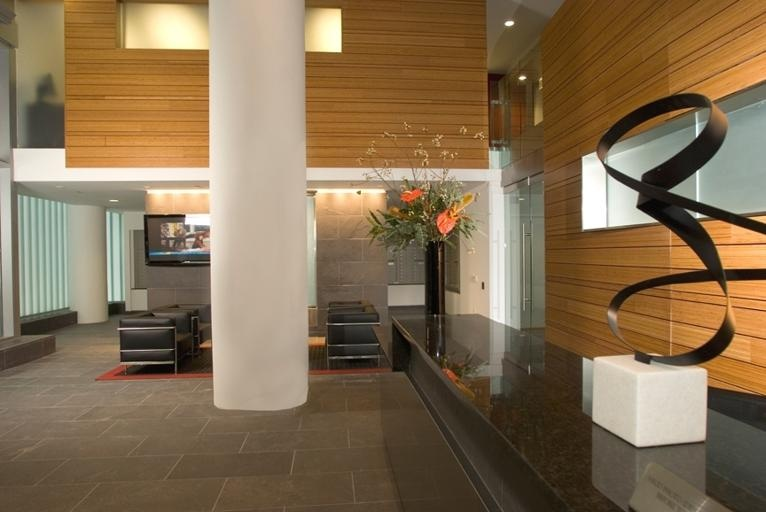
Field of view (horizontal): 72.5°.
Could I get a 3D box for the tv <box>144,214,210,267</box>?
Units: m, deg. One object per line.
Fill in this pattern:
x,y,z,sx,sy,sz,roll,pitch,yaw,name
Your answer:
-4.382,-0.387,11.008,1.344,0.793,0.126,0,-1,-6,tv

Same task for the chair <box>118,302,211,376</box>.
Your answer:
-3.885,1.423,9.094,0.932,1.037,1.474,-1,10,-3,chair

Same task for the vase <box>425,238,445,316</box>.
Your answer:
0.494,0.210,4.955,0.164,0.731,0.144,1,11,11,vase
